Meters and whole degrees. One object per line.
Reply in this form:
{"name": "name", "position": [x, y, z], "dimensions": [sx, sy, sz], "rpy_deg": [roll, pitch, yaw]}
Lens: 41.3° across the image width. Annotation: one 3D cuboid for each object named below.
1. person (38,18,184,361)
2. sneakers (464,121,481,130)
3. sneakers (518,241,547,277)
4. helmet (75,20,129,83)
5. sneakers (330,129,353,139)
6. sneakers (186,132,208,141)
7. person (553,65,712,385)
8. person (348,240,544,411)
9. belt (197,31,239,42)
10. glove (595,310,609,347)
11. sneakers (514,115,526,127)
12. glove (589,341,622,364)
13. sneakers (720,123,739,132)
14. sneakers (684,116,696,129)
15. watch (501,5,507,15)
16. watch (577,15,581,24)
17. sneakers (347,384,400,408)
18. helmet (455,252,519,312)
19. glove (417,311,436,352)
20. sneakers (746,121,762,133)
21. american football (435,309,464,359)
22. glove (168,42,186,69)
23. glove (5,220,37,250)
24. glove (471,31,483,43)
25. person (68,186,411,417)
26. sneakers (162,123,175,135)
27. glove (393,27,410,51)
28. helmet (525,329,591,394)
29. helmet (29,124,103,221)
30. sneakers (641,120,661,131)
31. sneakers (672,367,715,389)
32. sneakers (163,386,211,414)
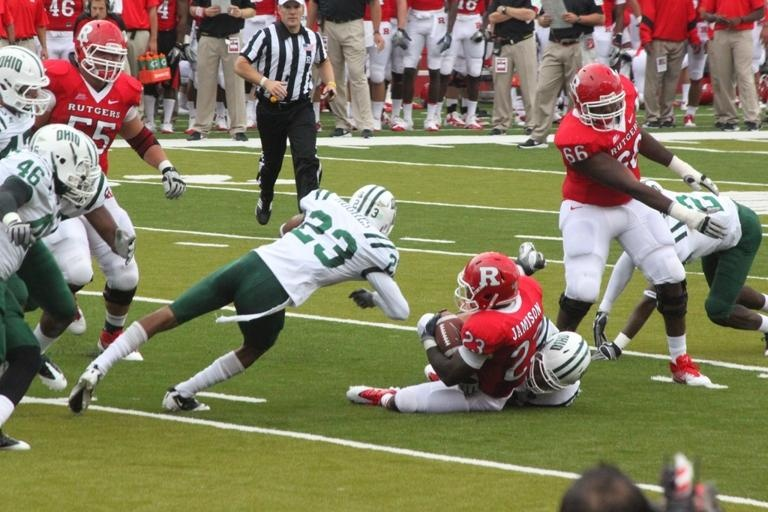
{"name": "person", "position": [-1.912, -0.426, 6.775], "dimensions": [1.156, 2.254, 1.065], "rpy_deg": [2, 5, -16]}
{"name": "sneakers", "position": [1.515, -2.236, 17.487], "dimensions": [0.169, 0.108, 0.217], "rpy_deg": [3, 19, 7]}
{"name": "sneakers", "position": [0.916, 0.008, 6.511], "dimensions": [0.151, 0.125, 0.328], "rpy_deg": [42, 11, -12]}
{"name": "helmet", "position": [-1.865, -1.389, 6.813], "dimensions": [0.319, 0.350, 0.428], "rpy_deg": [-6, 32, -34]}
{"name": "sneakers", "position": [-0.656, -1.870, 15.551], "dimensions": [0.332, 0.132, 0.117], "rpy_deg": [4, 3, -6]}
{"name": "sneakers", "position": [-2.777, -1.769, 15.031], "dimensions": [0.122, 0.092, 0.255], "rpy_deg": [3, 2, 16]}
{"name": "person", "position": [1.572, -0.207, 6.639], "dimensions": [1.297, 1.984, 1.025], "rpy_deg": [0, 15, 22]}
{"name": "person", "position": [0.439, 0.386, 6.209], "dimensions": [1.000, 0.867, 1.321], "rpy_deg": [3, 15, 12]}
{"name": "belt", "position": [-2.329, -3.106, 14.294], "dimensions": [0.568, 0.092, 0.220], "rpy_deg": [0, 14, -3]}
{"name": "glove", "position": [1.467, 0.492, 6.966], "dimensions": [0.110, 0.236, 0.083], "rpy_deg": [6, 11, 4]}
{"name": "sneakers", "position": [2.379, -2.406, 18.102], "dimensions": [0.202, 0.237, 0.598], "rpy_deg": [-1, 6, -3]}
{"name": "glove", "position": [1.484, 0.646, 6.860], "dimensions": [0.111, 0.090, 0.251], "rpy_deg": [-21, 0, -5]}
{"name": "sneakers", "position": [5.674, -2.136, 16.803], "dimensions": [0.281, 0.135, 0.106], "rpy_deg": [13, 17, 40]}
{"name": "sneakers", "position": [5.190, -2.295, 17.300], "dimensions": [0.147, 0.169, 0.436], "rpy_deg": [0, 5, 8]}
{"name": "watch", "position": [1.755, -3.635, 15.015], "dimensions": [0.063, 0.089, 0.098], "rpy_deg": [19, 56, 21]}
{"name": "watch", "position": [2.593, -3.163, 13.585], "dimensions": [0.057, 0.082, 0.089], "rpy_deg": [1, -16, 12]}
{"name": "sneakers", "position": [-0.080, 0.815, 5.956], "dimensions": [0.214, 0.063, 0.133], "rpy_deg": [7, -4, 4]}
{"name": "helmet", "position": [0.574, 0.174, 5.711], "dimensions": [0.354, 0.367, 0.270], "rpy_deg": [1, 14, 4]}
{"name": "glove", "position": [0.221, 0.432, 5.850], "dimensions": [0.075, 0.185, 0.134], "rpy_deg": [-6, -17, 10]}
{"name": "sneakers", "position": [6.003, -2.111, 16.582], "dimensions": [0.113, 0.131, 0.316], "rpy_deg": [-3, -7, 36]}
{"name": "american football", "position": [0.400, 0.447, 5.861], "dimensions": [0.158, 0.215, 0.166], "rpy_deg": [-15, -13, 34]}
{"name": "glove", "position": [-3.129, -3.044, 15.468], "dimensions": [0.325, 0.325, 0.143], "rpy_deg": [26, 4, 27]}
{"name": "glove", "position": [-1.778, -0.102, 5.004], "dimensions": [0.097, 0.130, 0.061], "rpy_deg": [27, 46, 30]}
{"name": "glove", "position": [1.479, -3.520, 16.334], "dimensions": [0.198, 0.180, 0.105], "rpy_deg": [4, 14, 12]}
{"name": "person", "position": [-0.734, 0.334, 5.865], "dimensions": [2.274, 0.641, 1.051], "rpy_deg": [-31, 37, -29]}
{"name": "sneakers", "position": [-3.362, -1.987, 15.845], "dimensions": [0.228, 0.195, 0.622], "rpy_deg": [-3, 1, -15]}
{"name": "glove", "position": [0.257, -3.361, 15.731], "dimensions": [0.240, 0.326, 0.407], "rpy_deg": [2, 14, 6]}
{"name": "helmet", "position": [1.005, 0.603, 5.780], "dimensions": [0.306, 0.277, 0.372], "rpy_deg": [-11, -24, -26]}
{"name": "helmet", "position": [-1.756, -0.518, 5.565], "dimensions": [0.418, 0.410, 0.318], "rpy_deg": [12, -2, -25]}
{"name": "sneakers", "position": [4.443, -2.174, 16.896], "dimensions": [0.392, 0.165, 0.141], "rpy_deg": [6, 11, -2]}
{"name": "sneakers", "position": [1.928, 0.754, 6.368], "dimensions": [0.232, 0.091, 0.095], "rpy_deg": [6, 9, 28]}
{"name": "sneakers", "position": [-1.142, 0.831, 5.771], "dimensions": [0.332, 0.149, 0.110], "rpy_deg": [8, 38, -19]}
